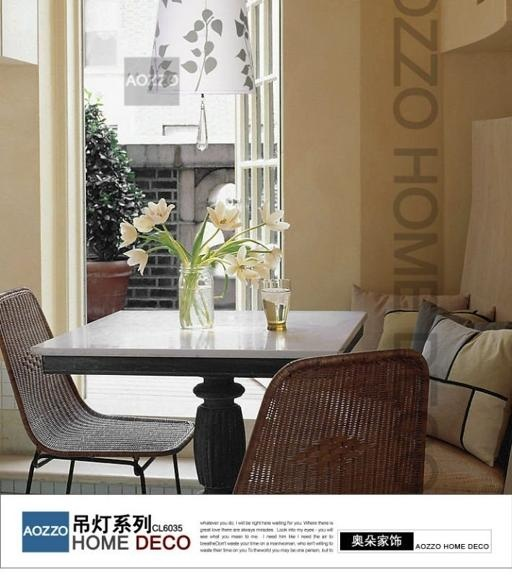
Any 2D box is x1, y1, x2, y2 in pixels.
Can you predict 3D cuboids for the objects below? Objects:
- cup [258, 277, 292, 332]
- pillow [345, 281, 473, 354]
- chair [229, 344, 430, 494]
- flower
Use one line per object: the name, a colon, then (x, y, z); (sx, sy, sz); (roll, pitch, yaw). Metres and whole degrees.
cup: (0.052, 0.050, 1.734); (0.102, 0.147, 0.099); (0, -5, 0)
pillow: (0.568, 0.178, 2.483); (0.426, 0.314, 0.153); (18, -25, -12)
chair: (0.125, 0.201, 0.873); (0.237, 0.308, 0.338); (0, 0, 11)
flower: (-0.211, -0.173, 1.807); (0.419, 0.191, 0.375); (-7, -2, -6)
